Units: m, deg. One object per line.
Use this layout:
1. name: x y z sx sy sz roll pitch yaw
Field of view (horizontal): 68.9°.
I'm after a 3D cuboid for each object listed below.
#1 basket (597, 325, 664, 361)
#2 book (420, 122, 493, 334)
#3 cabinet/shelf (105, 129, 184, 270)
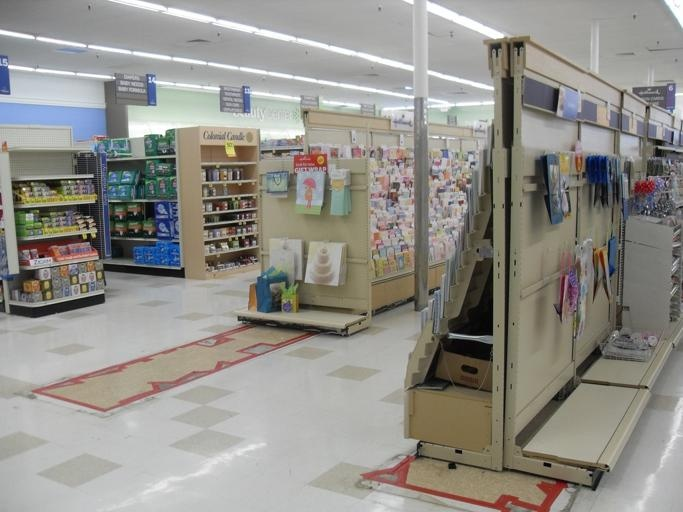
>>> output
1. basket: 2.692 0.828 4.620 0.287 0.115 0.425 -2 11 23
2. book: 0.730 -0.153 3.158 0.448 1.284 0.231 -1 9 10
3. cabinet/shelf: -3.993 -1.114 10.127 1.062 3.144 2.971 -1 0 0
